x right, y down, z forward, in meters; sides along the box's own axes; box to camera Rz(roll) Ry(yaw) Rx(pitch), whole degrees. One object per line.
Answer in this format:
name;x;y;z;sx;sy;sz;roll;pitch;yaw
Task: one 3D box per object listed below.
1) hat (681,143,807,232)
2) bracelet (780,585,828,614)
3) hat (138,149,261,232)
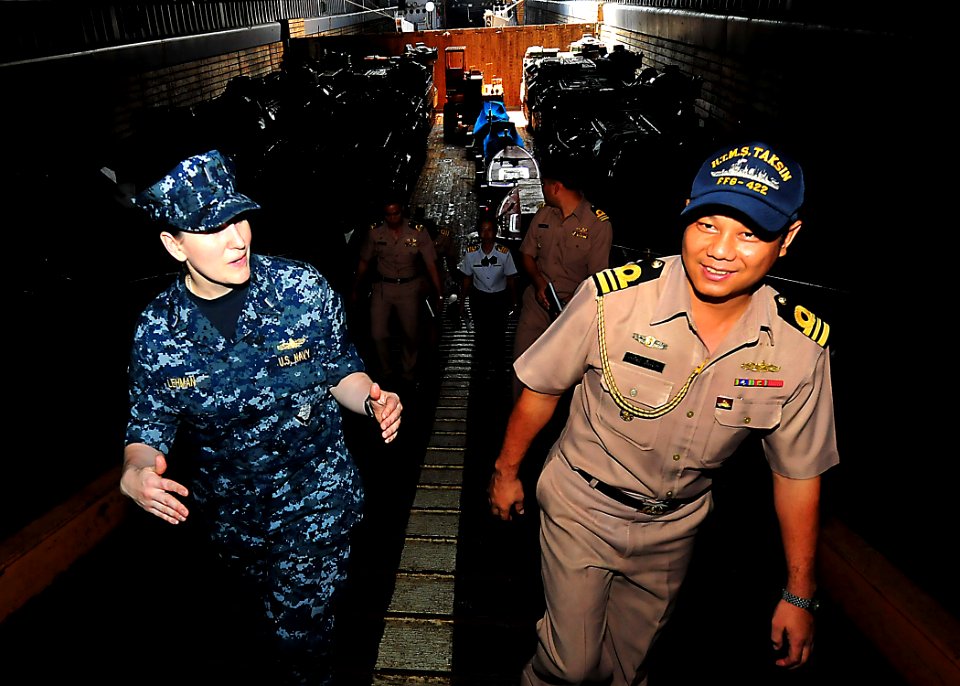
hat;1.057;-0.636;2.447;0.458;0.305;0.611;13;22;16
bracelet;1.286;1.033;2.527;0.145;0.090;0.067;7;31;7
hat;-1.182;-0.651;2.653;0.525;0.234;0.406;3;32;23
